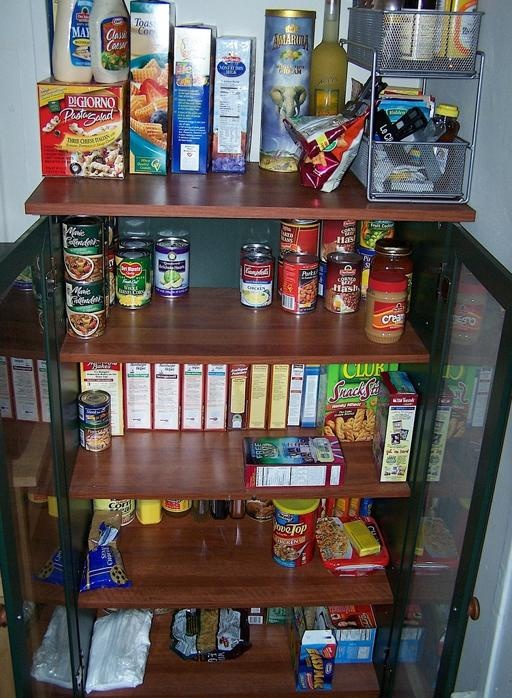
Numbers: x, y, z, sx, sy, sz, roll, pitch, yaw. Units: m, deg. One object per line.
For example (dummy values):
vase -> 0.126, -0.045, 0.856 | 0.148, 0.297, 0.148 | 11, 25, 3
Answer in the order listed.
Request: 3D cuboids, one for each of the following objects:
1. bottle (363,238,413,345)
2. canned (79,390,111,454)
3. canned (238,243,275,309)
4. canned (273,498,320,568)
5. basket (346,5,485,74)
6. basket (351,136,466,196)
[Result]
bottle -> 0.278, -0.113, 1.159 | 0.092, 0.225, 0.089 | 0, 24, 0
canned -> -0.373, 0.167, 1.278 | 0.084, 0.147, 0.096 | -4, 16, -29
canned -> 0.005, -0.164, 1.264 | 0.062, 0.146, 0.073 | -12, 28, -21
canned -> 0.097, 0.461, 1.364 | 0.121, 0.207, 0.099 | 3, 18, -1
basket -> 0.270, -0.504, 0.886 | 0.252, 0.109, 0.196 | -9, 32, -11
basket -> 0.328, -0.356, 1.083 | 0.192, 0.101, 0.280 | 9, 25, 22
